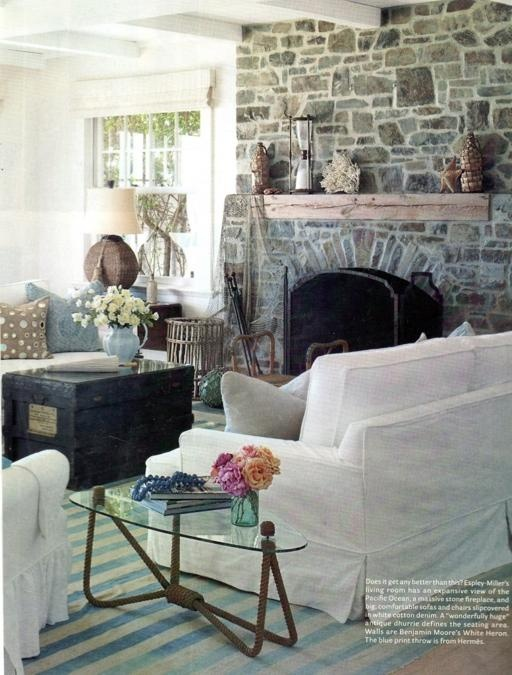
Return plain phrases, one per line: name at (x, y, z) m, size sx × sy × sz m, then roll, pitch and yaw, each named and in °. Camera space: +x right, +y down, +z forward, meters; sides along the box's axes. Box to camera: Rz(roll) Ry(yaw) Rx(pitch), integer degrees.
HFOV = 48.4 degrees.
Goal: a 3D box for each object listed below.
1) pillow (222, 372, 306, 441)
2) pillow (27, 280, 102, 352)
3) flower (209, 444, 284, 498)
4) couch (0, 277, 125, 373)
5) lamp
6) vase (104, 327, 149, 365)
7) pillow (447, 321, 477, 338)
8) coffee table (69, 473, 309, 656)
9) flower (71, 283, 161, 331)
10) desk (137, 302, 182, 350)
pillow at (0.064, 0.212, 1.682) m, size 0.311 × 0.178 × 0.099 m, roll -7°, pitch -4°, yaw 36°
pillow at (-1.129, -0.107, 3.479) m, size 0.512 × 0.450 × 0.182 m, roll 1°, pitch 14°, yaw 10°
flower at (-0.031, 0.287, 1.217) m, size 0.145 × 0.105 × 0.074 m, roll 1°, pitch 2°, yaw 16°
couch at (-0.994, -0.041, 2.905) m, size 0.551 × 0.424 × 0.205 m, roll -6°, pitch 0°, yaw -39°
lamp at (-1.160, -0.791, 4.603) m, size 0.441 × 0.759 × 0.809 m, roll 0°, pitch 2°, yaw -16°
vase at (-0.709, 0.046, 3.140) m, size 0.259 × 0.230 × 0.216 m, roll 0°, pitch -2°, yaw -41°
pillow at (1.053, -0.046, 2.929) m, size 0.094 × 0.040 × 0.121 m, roll 4°, pitch 11°, yaw 31°
coffee table at (-0.184, 0.554, 1.407) m, size 0.627 × 0.312 × 0.316 m, roll 3°, pitch 6°, yaw 33°
flower at (-0.793, -0.156, 3.058) m, size 0.363 × 0.216 × 0.360 m, roll 6°, pitch 5°, yaw 37°
desk at (-0.770, -0.158, 5.053) m, size 0.499 × 0.436 × 0.352 m, roll -4°, pitch 10°, yaw -37°
